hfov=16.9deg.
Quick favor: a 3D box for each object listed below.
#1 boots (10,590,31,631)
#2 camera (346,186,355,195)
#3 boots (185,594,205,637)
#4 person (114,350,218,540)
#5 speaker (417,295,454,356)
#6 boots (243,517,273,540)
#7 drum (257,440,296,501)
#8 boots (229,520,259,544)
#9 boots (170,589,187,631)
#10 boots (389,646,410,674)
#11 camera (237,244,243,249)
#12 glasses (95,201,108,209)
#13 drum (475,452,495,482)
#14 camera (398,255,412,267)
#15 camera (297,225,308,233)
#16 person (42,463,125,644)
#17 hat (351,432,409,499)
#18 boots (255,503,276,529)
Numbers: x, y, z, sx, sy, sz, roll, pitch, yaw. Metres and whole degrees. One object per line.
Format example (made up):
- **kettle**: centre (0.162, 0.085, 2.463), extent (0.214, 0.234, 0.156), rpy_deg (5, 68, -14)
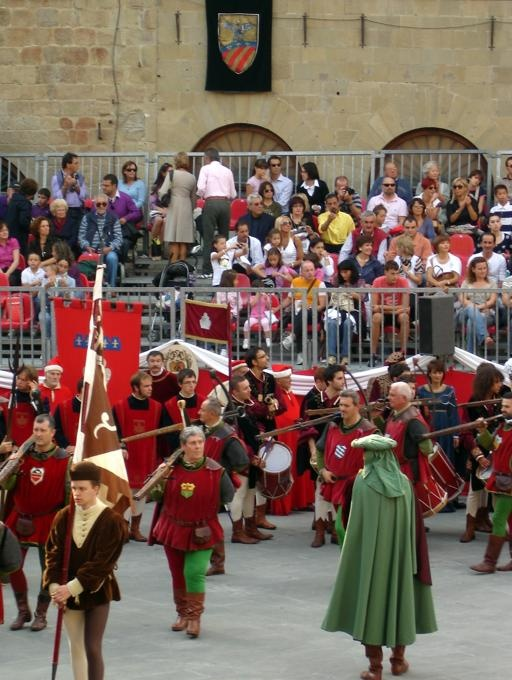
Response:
- **boots**: centre (-1.791, 2.018, 13.073), extent (0.162, 0.260, 0.288), rpy_deg (-1, 7, -8)
- **camera**: centre (1.201, -1.865, 21.762), extent (0.104, 0.122, 0.118), rpy_deg (-9, 22, -39)
- **boots**: centre (-0.464, 2.030, 12.820), extent (0.139, 0.331, 0.344), rpy_deg (5, 0, 2)
- **person**: centre (-0.905, 0.928, 16.205), extent (0.784, 1.606, 0.777), rpy_deg (0, 3, -11)
- **speaker**: centre (1.713, -0.143, 16.370), extent (0.278, 0.542, 0.355), rpy_deg (-7, 11, -24)
- **boots**: centre (0.064, 1.742, 15.955), extent (0.342, 0.246, 0.132), rpy_deg (-1, -3, 12)
- **drum**: centre (0.188, 1.187, 15.851), extent (0.309, 0.503, 0.266), rpy_deg (-2, 5, -6)
- **boots**: centre (-0.052, 1.763, 15.903), extent (0.321, 0.241, 0.133), rpy_deg (-1, -3, 20)
- **boots**: centre (-0.578, 2.004, 12.939), extent (0.106, 0.308, 0.102), rpy_deg (0, 7, 0)
- **boots**: centre (1.012, 2.204, 12.030), extent (0.126, 0.193, 0.172), rpy_deg (0, 7, 4)
- **camera**: centre (-0.188, -1.078, 19.984), extent (0.050, 0.047, 0.095), rpy_deg (1, -1, 16)
- **glasses**: centre (-1.915, -1.649, 21.269), extent (0.141, 0.117, 0.221), rpy_deg (-1, 7, -7)
- **drum**: centre (2.069, 1.145, 15.446), extent (0.267, 0.205, 0.197), rpy_deg (15, -14, -19)
- **camera**: centre (1.692, -0.876, 19.340), extent (0.156, 0.151, 0.085), rpy_deg (3, -27, 15)
- **camera**: centre (0.556, -1.303, 20.457), extent (0.080, 0.078, 0.080), rpy_deg (11, 11, 13)
- **person**: centre (-1.144, 1.357, 11.321), extent (0.434, 1.066, 0.441), rpy_deg (0, 4, -3)
- **hat**: centre (0.912, 0.843, 12.192), extent (0.465, 0.584, 0.405), rpy_deg (-6, 2, 19)
- **boots**: centre (0.158, 1.675, 16.422), extent (0.281, 0.260, 0.134), rpy_deg (0, -2, 20)
